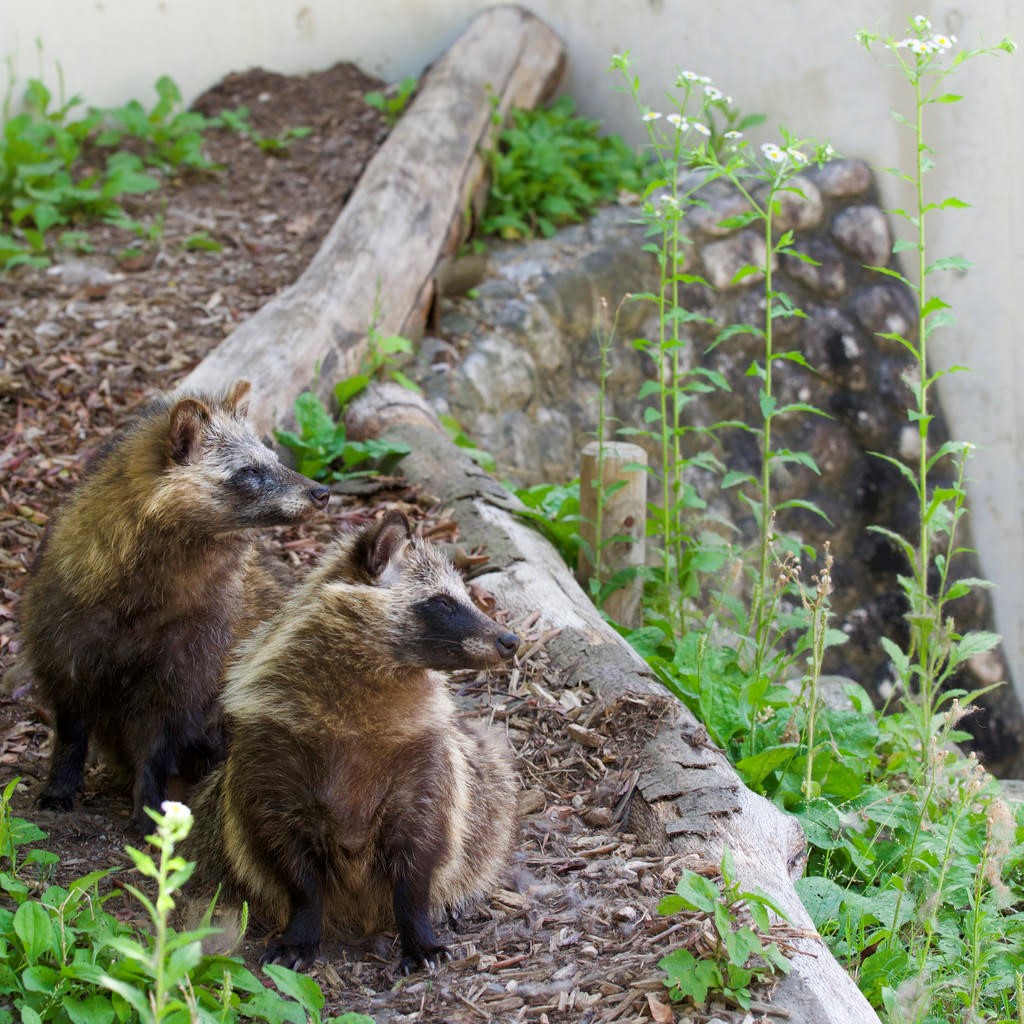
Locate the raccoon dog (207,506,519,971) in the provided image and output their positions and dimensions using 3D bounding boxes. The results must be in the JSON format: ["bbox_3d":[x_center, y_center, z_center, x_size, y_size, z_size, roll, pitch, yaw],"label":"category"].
[{"bbox_3d":[-0.488,0.807,4.727,0.732,1.687,0.817,0,50,-7],"label":"raccoon dog"}]
